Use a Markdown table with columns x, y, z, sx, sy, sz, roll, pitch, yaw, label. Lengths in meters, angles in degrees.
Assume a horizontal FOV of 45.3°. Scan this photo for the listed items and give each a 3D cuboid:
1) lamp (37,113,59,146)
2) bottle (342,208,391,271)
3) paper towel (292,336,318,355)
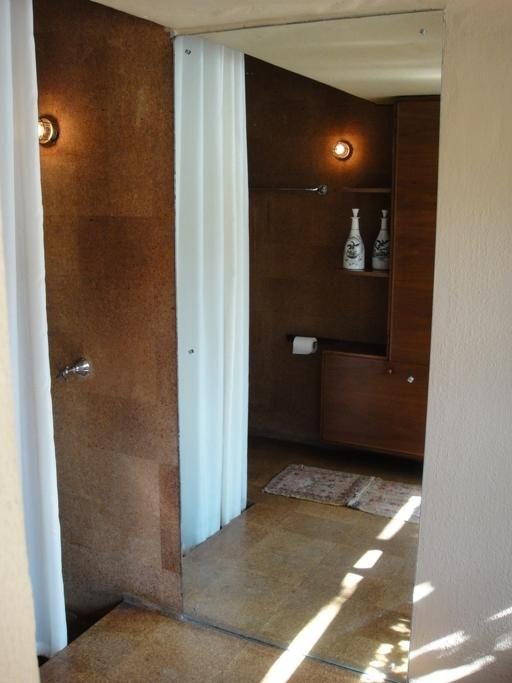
| x | y | z | sx | sy | sz | roll | pitch | yaw | label |
| --- | --- | --- | --- | --- | --- | --- | --- | --- | --- |
| -0.643 | -0.659 | 1.902 | 0.062 | 0.096 | 0.107 | -5 | 8 | -17 | lamp |
| 0.329 | -0.303 | 1.807 | 0.194 | 0.215 | 0.078 | 12 | 21 | 37 | bottle |
| 0.184 | 0.012 | 2.291 | 0.089 | 0.081 | 0.067 | 4 | 6 | 34 | paper towel |
